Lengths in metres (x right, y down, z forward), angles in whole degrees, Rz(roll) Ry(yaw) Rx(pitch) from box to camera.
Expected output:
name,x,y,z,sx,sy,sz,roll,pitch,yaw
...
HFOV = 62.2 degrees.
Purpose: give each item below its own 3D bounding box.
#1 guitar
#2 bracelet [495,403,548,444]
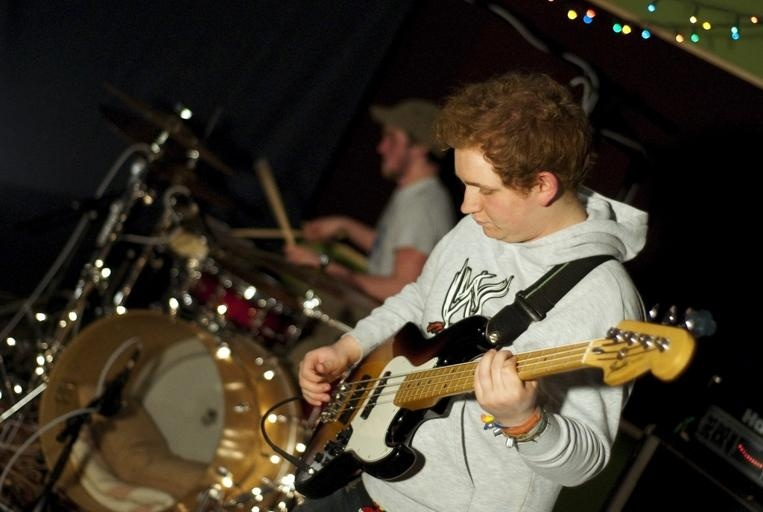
name,x,y,z,sx,sy,sz,roll,pitch,yaw
guitar,0.274,0.631,2.580,0.227,0.703,1.877,26,-30,-27
bracelet,0.479,0.572,2.170,0.147,0.050,0.110,-19,43,22
